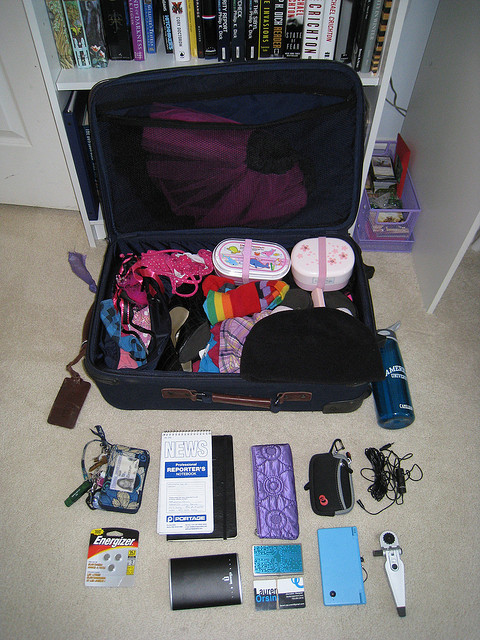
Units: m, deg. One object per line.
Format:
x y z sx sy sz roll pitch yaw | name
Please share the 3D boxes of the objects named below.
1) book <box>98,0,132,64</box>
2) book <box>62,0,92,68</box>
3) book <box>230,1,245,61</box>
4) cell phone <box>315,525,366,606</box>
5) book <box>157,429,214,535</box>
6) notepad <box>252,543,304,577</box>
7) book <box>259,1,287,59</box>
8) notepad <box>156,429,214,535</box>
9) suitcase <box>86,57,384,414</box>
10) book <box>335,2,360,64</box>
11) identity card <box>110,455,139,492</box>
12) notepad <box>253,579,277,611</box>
-0.327 -0.729 1.330 0.050 0.156 0.168 -10 53 -1 | book
-0.436 -0.769 1.334 0.044 0.168 0.034 -2 42 -4 | book
-0.006 -0.770 1.322 0.038 0.151 0.045 1 42 0 | book
0.255 0.607 1.234 0.103 0.207 0.019 -7 5 9 | cell phone
-0.146 0.437 1.346 0.144 0.033 0.297 1 47 -7 | book
0.098 0.606 1.242 0.126 0.025 0.070 0 46 -2 | notepad
0.081 -0.774 1.326 0.053 0.107 0.113 2 52 4 | book
-0.146 0.437 1.345 0.146 0.030 0.301 0 46 -6 | notepad
-0.015 -0.196 1.304 0.759 0.747 0.725 9 60 6 | suitcase
0.284 -0.766 1.306 0.036 0.174 0.166 13 42 24 | book
-0.312 0.420 1.352 0.062 0.017 0.092 5 47 3 | identity card
0.064 0.664 1.196 0.056 0.021 0.058 0 46 -2 | notepad
